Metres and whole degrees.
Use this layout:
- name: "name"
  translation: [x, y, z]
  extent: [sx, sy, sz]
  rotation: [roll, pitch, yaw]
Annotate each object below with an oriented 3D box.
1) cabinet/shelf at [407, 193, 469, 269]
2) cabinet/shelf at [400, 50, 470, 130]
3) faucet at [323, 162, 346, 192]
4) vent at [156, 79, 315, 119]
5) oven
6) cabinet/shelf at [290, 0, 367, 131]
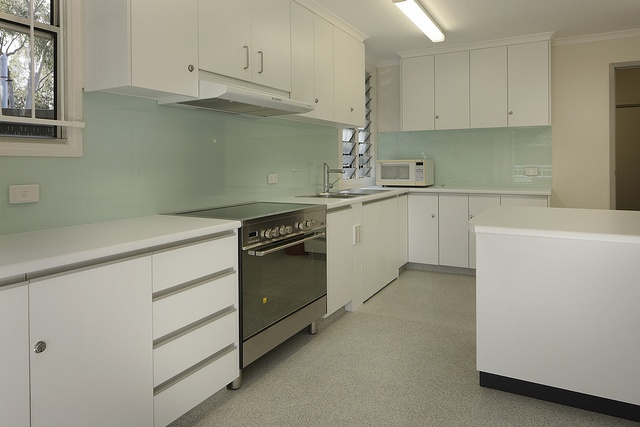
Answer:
- name: "cabinet/shelf"
  translation: [1.411, 0.184, 5.193]
  extent: [0.907, 1.089, 0.566]
  rotation: [0, 1, 31]
- name: "cabinet/shelf"
  translation: [1.447, -1.541, 5.433]
  extent: [0.932, 0.962, 0.321]
  rotation: [2, 5, 30]
- name: "faucet"
  translation: [0.126, -0.388, 4.754]
  extent: [0.191, 0.329, 0.484]
  rotation: [0, 15, 0]
- name: "vent"
  translation: [-0.611, -0.848, 3.296]
  extent: [0.540, 0.268, 1.034]
  rotation: [11, 19, 36]
- name: "oven"
  translation: [-0.485, 0.520, 3.426]
  extent: [0.749, 1.104, 1.044]
  rotation: [3, 9, 33]
- name: "cabinet/shelf"
  translation: [0.057, -1.424, 4.163]
  extent: [0.434, 0.987, 1.146]
  rotation: [-2, 0, 30]
